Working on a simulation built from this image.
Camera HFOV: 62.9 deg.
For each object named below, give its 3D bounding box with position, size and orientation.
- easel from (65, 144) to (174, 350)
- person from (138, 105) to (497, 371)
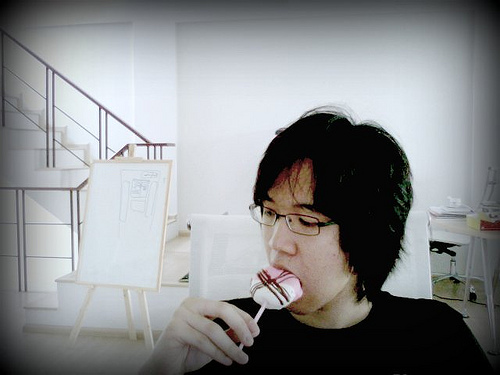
[{"bbox_3d":[-0.914,0.456,2.922,0.717,1.342,0.241,2,1,12],"label":"easel"},{"bbox_3d":[0.564,0.372,2.744,1.874,1.503,1.004,1,-9,18],"label":"person"}]
